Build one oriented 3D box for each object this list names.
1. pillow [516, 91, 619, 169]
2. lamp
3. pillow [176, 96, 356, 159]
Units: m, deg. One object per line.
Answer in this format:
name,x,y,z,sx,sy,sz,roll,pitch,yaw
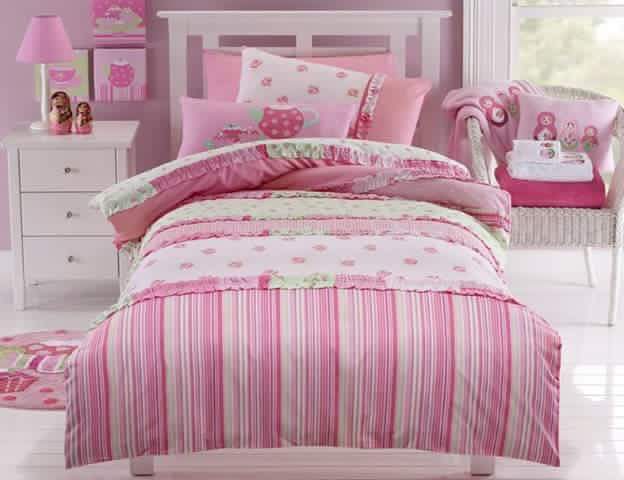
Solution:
pillow,1.194,-0.507,3.040,0.586,0.303,0.143,8,1,10
lamp,-1.281,-0.807,3.115,0.243,0.564,0.286,-12,20,-27
pillow,-0.180,-0.467,2.701,0.618,0.092,0.250,1,51,4
